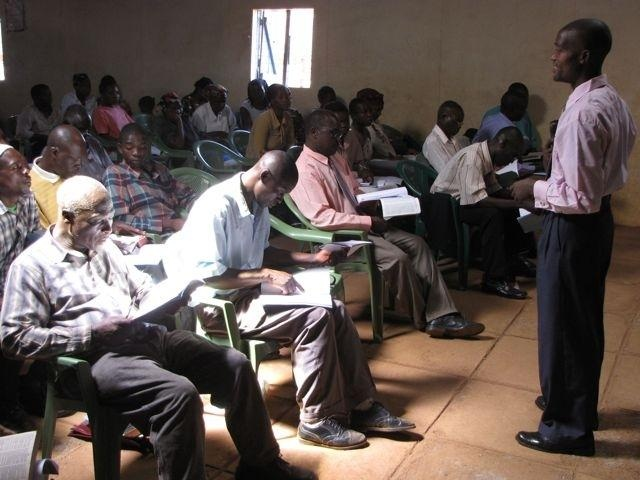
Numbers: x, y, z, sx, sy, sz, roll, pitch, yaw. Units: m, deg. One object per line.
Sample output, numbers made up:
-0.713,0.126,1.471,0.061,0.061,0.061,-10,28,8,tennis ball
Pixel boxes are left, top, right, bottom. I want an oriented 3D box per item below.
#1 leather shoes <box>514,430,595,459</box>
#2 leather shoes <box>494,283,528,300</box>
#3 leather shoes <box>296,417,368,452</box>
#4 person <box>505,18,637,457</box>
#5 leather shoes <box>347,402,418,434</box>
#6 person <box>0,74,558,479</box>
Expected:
1.152,0.972,2.760,0.345,0.154,0.126,6,5,20,leather shoes
1.513,0.412,4.573,0.323,0.137,0.112,3,10,31,leather shoes
0.056,0.940,2.693,0.328,0.135,0.136,1,0,2,leather shoes
1.188,0.014,2.612,0.393,1.998,0.409,4,15,23,person
0.312,0.905,2.858,0.359,0.164,0.134,-1,-8,8,leather shoes
-0.113,0.183,3.381,1.081,1.463,2.986,4,11,26,person
